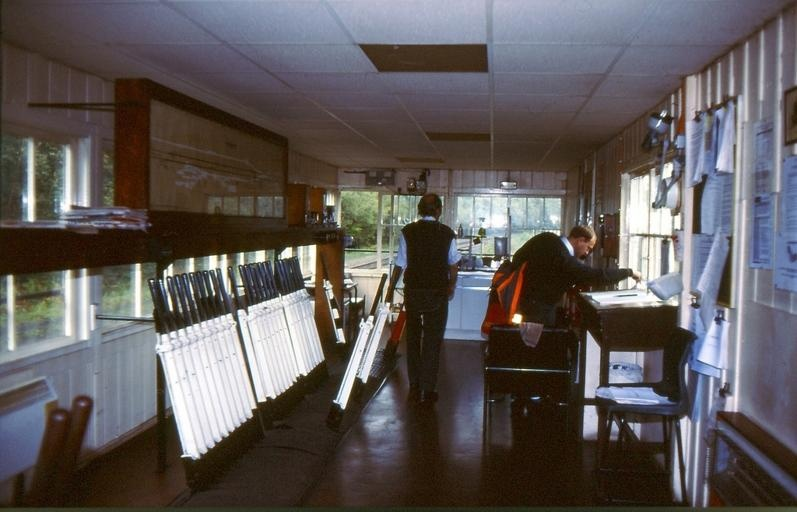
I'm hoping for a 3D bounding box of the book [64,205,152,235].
[{"bbox_3d":[-1.952,-0.240,3.753,0.546,0.201,0.316,-6,15,-30],"label":"book"}]

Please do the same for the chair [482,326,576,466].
[{"bbox_3d":[1.170,1.233,5.062,0.864,1.071,0.775,-3,-17,23],"label":"chair"}]

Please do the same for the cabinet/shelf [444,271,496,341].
[{"bbox_3d":[0.934,0.611,7.172,1.028,0.966,0.480,1,-8,12],"label":"cabinet/shelf"}]

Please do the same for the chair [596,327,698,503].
[{"bbox_3d":[1.971,1.160,4.439,0.751,1.327,0.994,6,14,20],"label":"chair"}]

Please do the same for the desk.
[{"bbox_3d":[1.794,1.026,5.064,0.984,1.503,1.604,3,0,13],"label":"desk"}]

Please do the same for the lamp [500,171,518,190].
[{"bbox_3d":[1.864,-1.293,9.435,0.321,0.349,0.324,3,8,18],"label":"lamp"}]

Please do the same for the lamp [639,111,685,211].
[{"bbox_3d":[2.354,-0.874,5.007,0.311,0.855,0.721,6,14,18],"label":"lamp"}]

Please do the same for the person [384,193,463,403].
[{"bbox_3d":[0.271,0.412,5.623,0.514,2.049,0.519,6,14,21],"label":"person"}]
